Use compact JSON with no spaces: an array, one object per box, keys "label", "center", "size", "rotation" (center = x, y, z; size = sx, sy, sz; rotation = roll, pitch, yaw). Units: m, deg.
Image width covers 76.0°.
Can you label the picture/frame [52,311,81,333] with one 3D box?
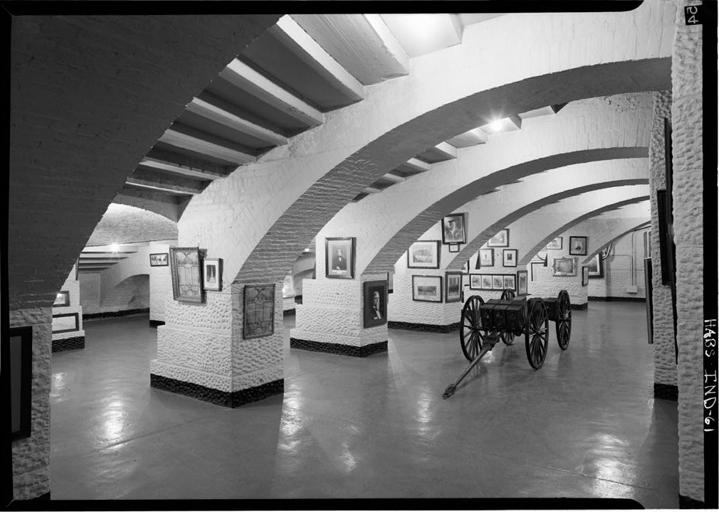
[{"label":"picture/frame","center":[-6.323,1.446,9.957],"size":[0.331,0.397,0.622],"rotation":[-2,-3,19]}]

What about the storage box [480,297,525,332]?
[{"label":"storage box","center":[2.483,1.011,7.993],"size":[0.618,0.422,0.618],"rotation":[0,1,41]}]

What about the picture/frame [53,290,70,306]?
[{"label":"picture/frame","center":[-6.516,0.928,10.039],"size":[0.134,0.359,0.355],"rotation":[1,2,19]}]

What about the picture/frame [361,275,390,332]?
[{"label":"picture/frame","center":[0.301,1.017,9.975],"size":[0.134,1.417,1.228],"rotation":[-3,-6,35]}]

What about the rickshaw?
[{"label":"rickshaw","center":[2.801,1.528,8.866],"size":[2.063,1.962,2.164],"rotation":[2,-1,33]}]

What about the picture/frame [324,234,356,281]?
[{"label":"picture/frame","center":[-0.424,0.046,10.162],"size":[0.793,0.922,0.222],"rotation":[1,3,31]}]

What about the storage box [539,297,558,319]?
[{"label":"storage box","center":[3.746,1.049,9.170],"size":[0.449,0.462,0.334],"rotation":[0,4,31]}]
